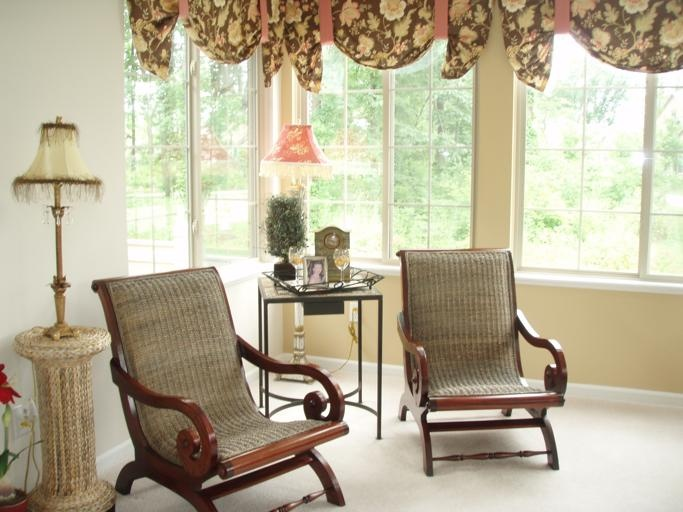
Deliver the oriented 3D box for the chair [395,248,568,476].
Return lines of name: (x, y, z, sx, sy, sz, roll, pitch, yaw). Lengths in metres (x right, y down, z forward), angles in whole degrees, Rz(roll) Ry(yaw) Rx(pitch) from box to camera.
chair: (0.839, 0.607, 3.816, 0.924, 1.179, 0.875, -1, 13, -3)

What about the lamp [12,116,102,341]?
lamp: (-1.432, -0.154, 3.030, 0.407, 1.069, 0.502, -6, 14, -25)

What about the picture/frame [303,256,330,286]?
picture/frame: (-0.175, 0.097, 3.941, 0.186, 0.256, 0.035, 3, -35, -8)
